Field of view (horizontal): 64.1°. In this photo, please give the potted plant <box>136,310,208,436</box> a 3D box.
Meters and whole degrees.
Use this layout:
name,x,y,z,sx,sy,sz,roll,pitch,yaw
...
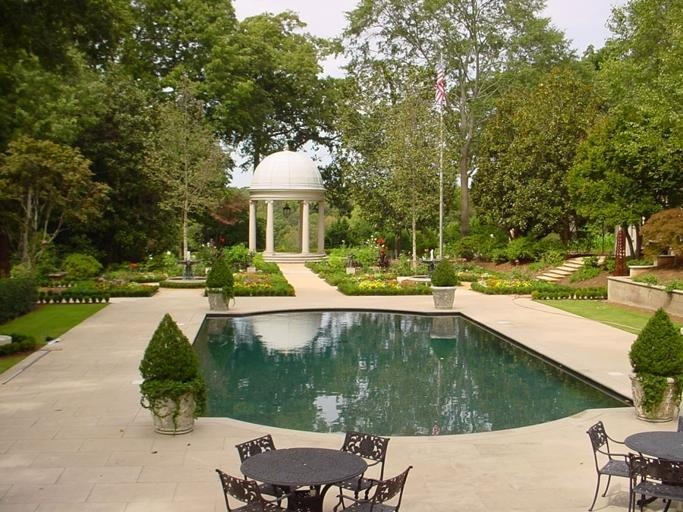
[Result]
name,x,y,z,sx,sy,sz,roll,pitch,yaw
potted plant,-2.794,1.923,9.006,1.022,1.912,0.562,0,5,-14

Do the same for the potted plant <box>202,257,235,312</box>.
name,x,y,z,sx,sy,sz,roll,pitch,yaw
potted plant,-4.523,1.041,20.209,0.895,1.930,0.590,-1,6,-22

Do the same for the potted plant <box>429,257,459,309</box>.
name,x,y,z,sx,sy,sz,roll,pitch,yaw
potted plant,3.869,1.069,20.717,0.874,1.909,1.072,2,5,11

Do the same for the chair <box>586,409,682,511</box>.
name,x,y,z,sx,sy,sz,roll,pitch,yaw
chair,3.920,2.650,7.331,1.092,1.653,0.961,-3,-1,29
